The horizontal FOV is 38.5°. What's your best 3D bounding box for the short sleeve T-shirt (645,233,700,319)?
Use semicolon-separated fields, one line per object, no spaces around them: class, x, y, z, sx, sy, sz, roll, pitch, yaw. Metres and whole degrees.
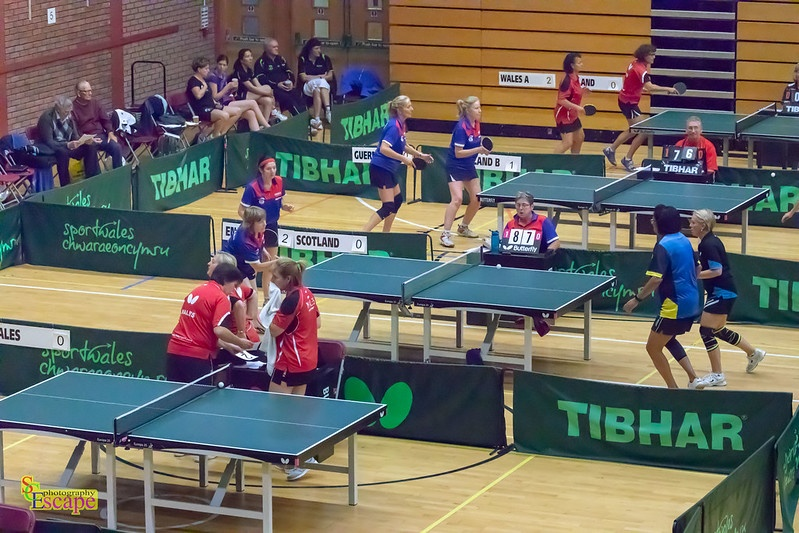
short sleeve T-shirt;3.328;0.106;13.968;0.634;1.026;0.433;0;6;5

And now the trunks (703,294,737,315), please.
trunks;3.991;0.477;14.424;0.339;0.272;0.215;-2;7;-25

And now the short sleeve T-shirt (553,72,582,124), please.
short sleeve T-shirt;3.247;-3.339;22.096;0.441;0.986;0.787;12;31;28

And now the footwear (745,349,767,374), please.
footwear;4.644;1.229;15.033;0.181;0.417;0.156;11;43;-4

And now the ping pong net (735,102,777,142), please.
ping pong net;6.606;-2.549;21.307;0.178;0.384;1.503;-10;0;41

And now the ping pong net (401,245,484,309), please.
ping pong net;0.611;0.150;15.174;0.186;0.365;1.520;-5;15;45

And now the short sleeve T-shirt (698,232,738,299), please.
short sleeve T-shirt;4.099;0.012;14.863;0.417;0.919;0.721;-2;15;25

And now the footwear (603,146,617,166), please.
footwear;4.138;-2.146;22.591;0.231;0.553;0.178;-15;38;14

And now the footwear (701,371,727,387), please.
footwear;3.960;1.440;14.544;0.364;0.179;0.152;0;51;1

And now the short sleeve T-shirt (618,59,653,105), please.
short sleeve T-shirt;4.723;-3.784;23.224;0.452;0.821;0.867;-4;40;-14

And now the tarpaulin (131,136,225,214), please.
tarpaulin;-3.945;-1.651;21.067;0.088;1.111;2.833;14;20;18

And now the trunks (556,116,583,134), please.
trunks;3.276;-2.758;22.156;0.388;0.290;0.270;-24;18;-25

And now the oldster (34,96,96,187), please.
oldster;-5.963;-2.193;20.333;1.060;1.577;0.870;12;20;0

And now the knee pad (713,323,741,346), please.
knee pad;4.174;0.877;14.680;0.337;0.122;0.227;18;20;-23

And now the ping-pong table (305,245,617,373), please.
ping-pong table;0.846;0.281;14.858;2.664;1.008;1.875;8;22;28

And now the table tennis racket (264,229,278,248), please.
table tennis racket;-1.846;-0.412;16.424;0.205;0.247;0.224;2;29;-3

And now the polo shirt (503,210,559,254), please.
polo shirt;1.783;-0.661;15.785;0.814;0.726;0.457;1;1;18
